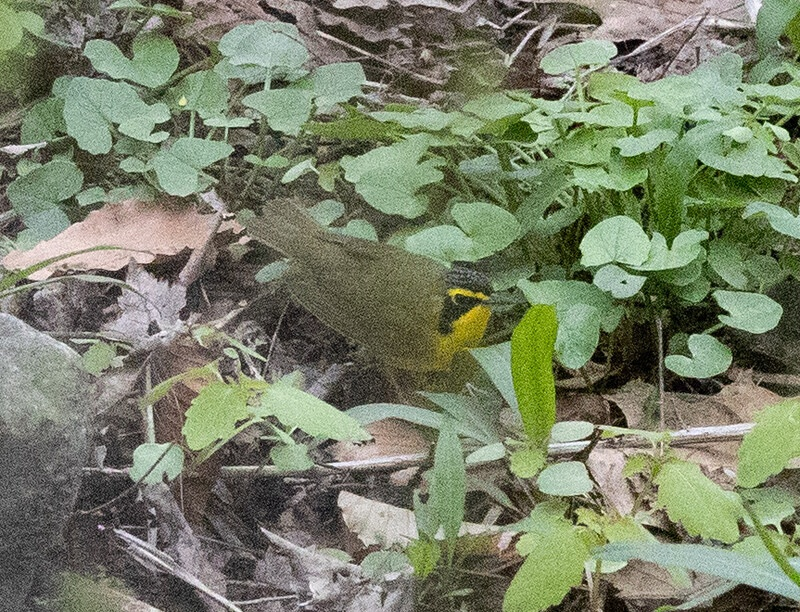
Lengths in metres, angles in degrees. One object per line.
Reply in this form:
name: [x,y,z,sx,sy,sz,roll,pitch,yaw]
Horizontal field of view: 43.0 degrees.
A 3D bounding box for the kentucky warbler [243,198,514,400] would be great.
kentucky warbler: [-0.070,-0.014,2.569,0.277,0.691,0.355,-54,9,-11]
